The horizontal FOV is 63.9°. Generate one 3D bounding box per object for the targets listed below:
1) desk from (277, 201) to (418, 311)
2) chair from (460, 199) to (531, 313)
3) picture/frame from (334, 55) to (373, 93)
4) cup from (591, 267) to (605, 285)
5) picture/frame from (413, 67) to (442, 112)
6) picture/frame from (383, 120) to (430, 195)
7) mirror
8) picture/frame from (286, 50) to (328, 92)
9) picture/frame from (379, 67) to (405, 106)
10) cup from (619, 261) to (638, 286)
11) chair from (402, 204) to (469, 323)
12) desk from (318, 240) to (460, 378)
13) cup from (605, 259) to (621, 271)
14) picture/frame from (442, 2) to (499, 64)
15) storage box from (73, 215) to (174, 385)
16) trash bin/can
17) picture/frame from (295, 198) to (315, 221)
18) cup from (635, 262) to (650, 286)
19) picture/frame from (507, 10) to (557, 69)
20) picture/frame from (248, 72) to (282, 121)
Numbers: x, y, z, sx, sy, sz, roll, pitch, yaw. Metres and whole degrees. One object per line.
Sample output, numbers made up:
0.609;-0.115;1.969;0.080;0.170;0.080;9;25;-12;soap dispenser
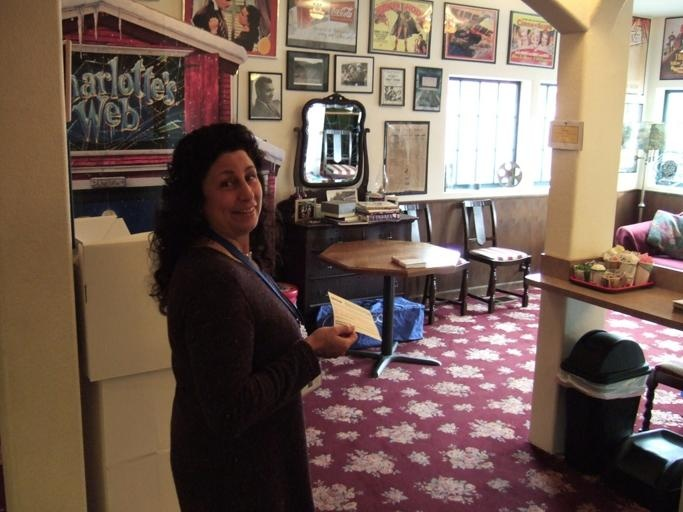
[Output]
0.085;0.032;5.756;1.126;1.033;0.626;-6;25;-21;desk
1.771;-0.018;6.420;0.670;1.207;0.722;-7;12;-42;chair
0.107;-1.895;5.696;0.404;0.320;0.029;-5;12;-28;picture/frame
1.562;0.125;3.337;0.075;0.093;0.052;7;15;25;cup
0.949;-1.883;6.159;0.465;0.522;0.068;-8;14;-36;picture/frame
0.707;-1.127;6.165;0.795;0.957;0.068;-5;10;-30;picture/frame
-0.132;-1.167;5.688;1.066;1.206;0.089;-4;10;-28;mirror
-0.335;-1.816;5.474;0.500;0.394;0.039;15;20;29;picture/frame
0.529;-1.839;5.937;0.384;0.453;0.046;-7;15;-33;picture/frame
1.763;0.110;3.353;0.110;0.137;0.075;2;14;6;cup
1.047;0.050;6.051;0.780;1.235;0.763;0;9;-11;chair
0.412;0.519;4.931;1.141;0.878;1.106;0;5;-22;desk
1.691;0.053;3.407;0.060;0.063;0.059;0;13;0;cup
1.449;-2.561;6.259;0.717;0.519;0.028;-6;15;-28;picture/frame
-1.015;0.264;2.620;0.360;0.473;0.653;-7;53;-18;storage box
1.621;0.901;3.434;0.491;0.822;0.347;6;15;22;trash bin/can
-0.368;-0.451;5.421;0.222;0.216;0.021;-3;2;-34;picture/frame
1.849;0.110;3.367;0.085;0.147;0.106;3;14;5;cup
2.373;-2.629;6.744;0.893;0.612;0.106;-9;17;-34;picture/frame
-0.756;-1.554;5.297;0.438;0.531;0.035;-7;11;-35;picture/frame
